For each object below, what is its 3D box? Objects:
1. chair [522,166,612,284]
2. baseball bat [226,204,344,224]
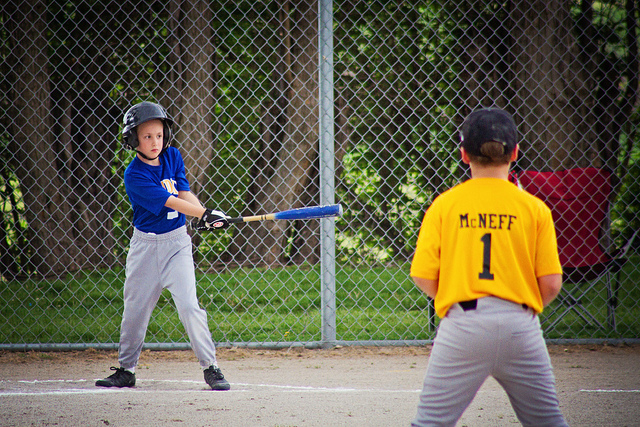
[{"bbox_3d":[3.052,0.056,11.227,1.165,1.439,1.588,2,5,5],"label":"chair"},{"bbox_3d":[-0.410,-0.002,11.705,1.252,0.142,0.157,-6,6,0],"label":"baseball bat"}]
